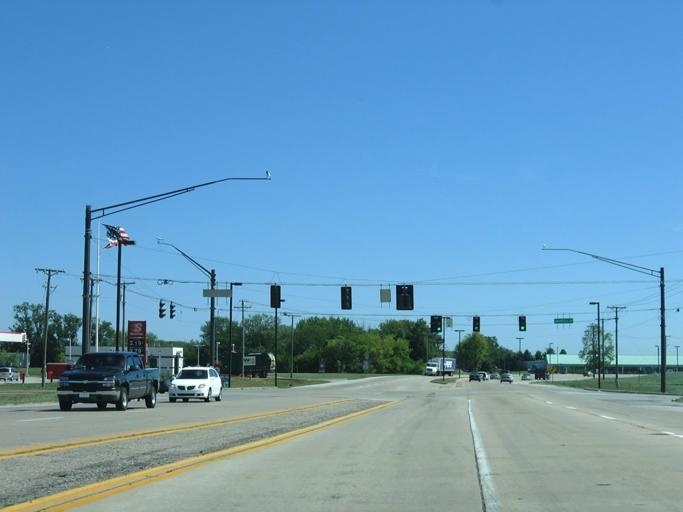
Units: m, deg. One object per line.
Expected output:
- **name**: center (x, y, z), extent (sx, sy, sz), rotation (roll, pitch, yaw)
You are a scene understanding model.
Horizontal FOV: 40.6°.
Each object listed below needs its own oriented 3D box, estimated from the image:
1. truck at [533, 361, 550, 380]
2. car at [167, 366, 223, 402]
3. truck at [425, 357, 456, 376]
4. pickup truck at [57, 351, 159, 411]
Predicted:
- **truck**: center (32.465, 18.606, 150.149), extent (1.356, 3.458, 5.821), rotation (1, -12, -6)
- **car**: center (-6.840, 5.979, 43.010), extent (1.995, 1.661, 2.244), rotation (-1, -11, 3)
- **truck**: center (17.465, 19.165, 157.588), extent (2.602, 3.727, 7.505), rotation (1, 0, 38)
- **pickup truck**: center (-8.555, 4.670, 34.966), extent (1.903, 1.504, 3.641), rotation (-2, -12, 10)
